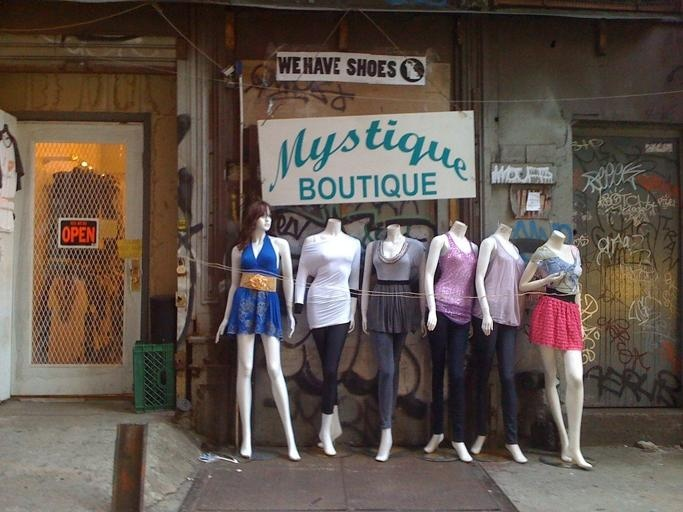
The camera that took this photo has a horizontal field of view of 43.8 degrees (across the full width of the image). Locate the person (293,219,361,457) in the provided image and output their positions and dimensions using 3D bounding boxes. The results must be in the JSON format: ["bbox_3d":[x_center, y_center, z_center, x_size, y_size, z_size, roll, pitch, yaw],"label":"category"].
[{"bbox_3d":[-0.129,0.749,8.032,0.623,2.194,0.228,0,0,-5],"label":"person"}]

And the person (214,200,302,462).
[{"bbox_3d":[-0.760,0.680,7.882,0.704,2.353,0.301,0,0,-10],"label":"person"}]

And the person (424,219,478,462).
[{"bbox_3d":[1.041,0.783,7.974,0.495,2.197,0.302,0,0,8],"label":"person"}]

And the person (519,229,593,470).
[{"bbox_3d":[2.036,0.847,7.954,0.605,2.147,0.299,0,0,18],"label":"person"}]

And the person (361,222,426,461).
[{"bbox_3d":[0.501,0.790,8.076,0.586,2.166,0.377,0,0,-25],"label":"person"}]
